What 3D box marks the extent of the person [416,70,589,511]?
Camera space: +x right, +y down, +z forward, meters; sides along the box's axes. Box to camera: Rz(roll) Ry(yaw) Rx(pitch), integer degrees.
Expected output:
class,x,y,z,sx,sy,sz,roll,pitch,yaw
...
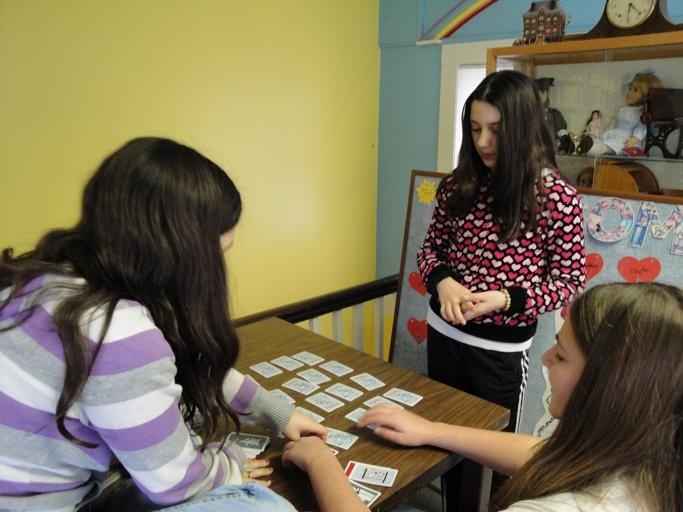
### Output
class,x,y,z,sx,sy,sz,roll,pitch,yaw
person,0.676,0.217,2.360,0.666,1.963,0.676,7,12,27
